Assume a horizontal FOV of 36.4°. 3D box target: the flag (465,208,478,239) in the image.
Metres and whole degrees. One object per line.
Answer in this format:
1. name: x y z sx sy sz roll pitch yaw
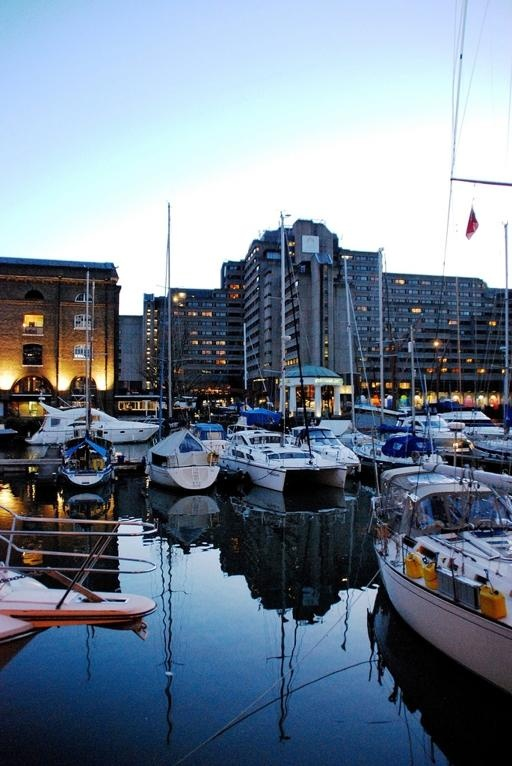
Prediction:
1. flag: 4.279 -3.190 15.688 0.213 0.579 0.341 2 3 34

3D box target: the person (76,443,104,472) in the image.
1. person: -6.009 2.651 28.182 1.028 1.065 0.587 0 -6 -8
